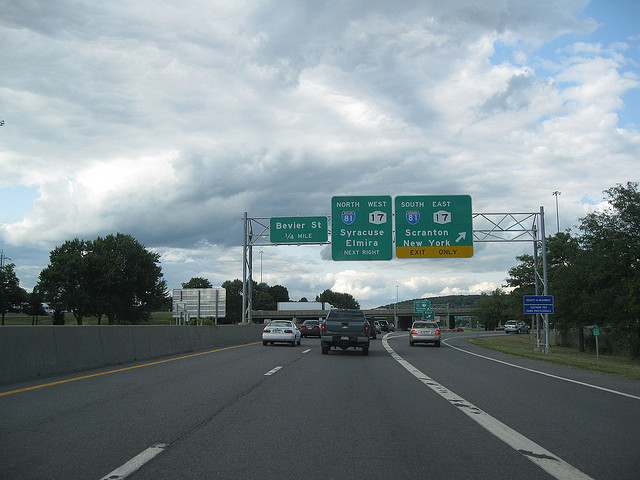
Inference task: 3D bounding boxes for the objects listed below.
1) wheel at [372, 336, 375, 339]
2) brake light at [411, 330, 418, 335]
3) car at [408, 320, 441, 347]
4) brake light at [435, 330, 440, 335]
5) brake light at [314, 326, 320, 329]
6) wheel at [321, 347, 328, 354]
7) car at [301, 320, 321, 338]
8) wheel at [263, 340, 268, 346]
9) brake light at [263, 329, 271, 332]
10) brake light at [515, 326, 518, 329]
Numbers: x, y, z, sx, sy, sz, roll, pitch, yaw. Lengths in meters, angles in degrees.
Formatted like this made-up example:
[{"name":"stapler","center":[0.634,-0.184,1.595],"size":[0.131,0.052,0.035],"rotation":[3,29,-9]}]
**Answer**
[{"name":"wheel","center":[4.339,7.933,48.300],"size":[0.267,0.289,0.151],"rotation":[0,6,12]},{"name":"brake light","center":[5.715,5.640,36.208],"size":[0.244,0.221,0.349],"rotation":[0,-4,10]},{"name":"car","center":[6.436,5.839,36.773],"size":[1.747,1.596,1.983],"rotation":[-5,-7,12]},{"name":"brake light","center":[7.106,5.652,36.277],"size":[0.237,0.187,0.205],"rotation":[-9,-18,-10]},{"name":"brake light","center":[-0.297,6.941,47.213],"size":[0.218,0.124,0.324],"rotation":[3,-2,15]},{"name":"wheel","center":[0.197,4.781,25.653],"size":[0.285,0.300,0.215],"rotation":[4,-11,-14]},{"name":"car","center":[-0.788,7.216,47.918],"size":[1.492,1.381,2.466],"rotation":[-3,-7,-2]},{"name":"wheel","center":[-2.929,5.466,31.490],"size":[0.238,0.259,0.188],"rotation":[2,7,7]},{"name":"brake light","center":[-2.795,4.814,31.419],"size":[0.377,0.150,0.234],"rotation":[-7,-8,19]},{"name":"brake light","center":[28.023,12.571,85.154],"size":[0.276,0.299,0.290],"rotation":[1,-2,12]}]
